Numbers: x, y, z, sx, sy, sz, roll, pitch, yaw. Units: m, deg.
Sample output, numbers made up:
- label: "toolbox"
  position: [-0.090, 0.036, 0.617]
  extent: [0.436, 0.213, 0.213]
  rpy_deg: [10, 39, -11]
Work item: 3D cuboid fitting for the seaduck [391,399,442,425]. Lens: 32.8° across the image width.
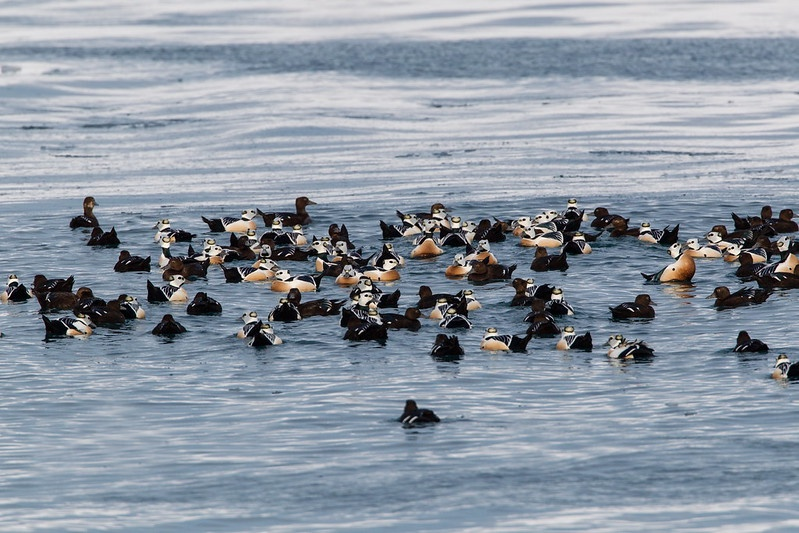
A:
- label: "seaduck"
  position: [0.448, 4.373, 40.210]
  extent: [1.498, 0.352, 0.687]
  rpy_deg: [6, 4, 4]
